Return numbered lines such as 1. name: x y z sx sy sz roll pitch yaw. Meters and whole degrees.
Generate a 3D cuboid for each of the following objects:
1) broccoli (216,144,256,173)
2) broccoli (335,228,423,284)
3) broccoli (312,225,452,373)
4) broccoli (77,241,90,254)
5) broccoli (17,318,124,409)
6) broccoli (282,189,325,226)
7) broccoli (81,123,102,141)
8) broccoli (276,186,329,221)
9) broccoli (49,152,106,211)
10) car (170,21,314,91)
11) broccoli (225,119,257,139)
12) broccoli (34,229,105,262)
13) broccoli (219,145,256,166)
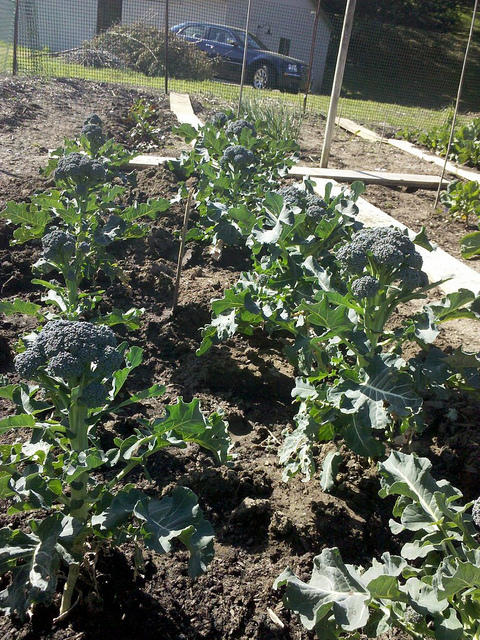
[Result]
1. broccoli: -0.074 -1.343 4.575 0.209 0.222 0.536 0 18 -24
2. broccoli: 0.666 -0.259 2.641 0.456 0.329 0.407 -2 16 14
3. broccoli: 0.624 -0.143 2.619 0.609 0.497 0.597 4 4 -16
4. broccoli: -0.993 -0.467 3.489 0.073 0.031 0.087 -11 38 -17
5. broccoli: -0.592 0.173 1.949 0.251 0.274 0.295 -12 2 20
6. broccoli: 0.411 -0.704 3.588 0.310 0.111 0.294 14 36 24
7. broccoli: -1.207 -1.501 4.398 0.157 0.140 0.149 -1 22 14
8. broccoli: 0.401 -0.774 3.559 0.314 0.116 0.290 2 29 4
9. broccoli: -1.094 -0.944 3.765 0.325 0.372 0.357 -2 20 -29
10. car: 0.243 -7.454 15.720 3.485 1.586 1.325 5 18 -8
11. broccoli: -0.002 -1.716 4.998 0.203 0.222 0.143 -39 76 -11
12. broccoli: -1.065 -0.464 3.303 0.362 0.163 0.335 -5 6 0
13. broccoli: -0.009 -1.310 4.447 0.205 0.223 0.164 5 60 -17
